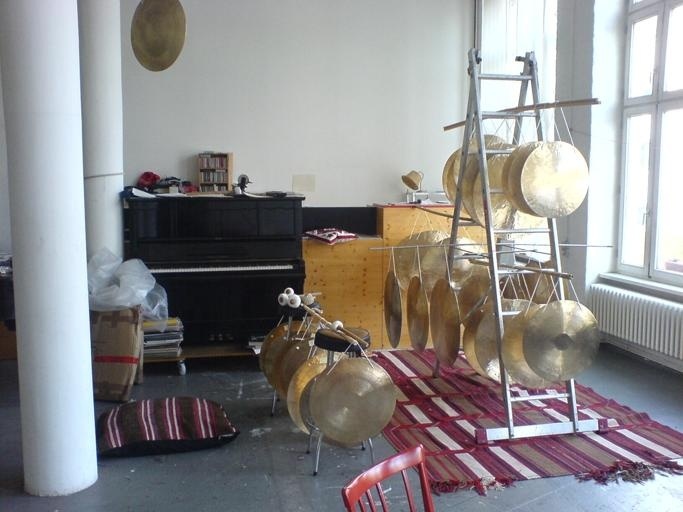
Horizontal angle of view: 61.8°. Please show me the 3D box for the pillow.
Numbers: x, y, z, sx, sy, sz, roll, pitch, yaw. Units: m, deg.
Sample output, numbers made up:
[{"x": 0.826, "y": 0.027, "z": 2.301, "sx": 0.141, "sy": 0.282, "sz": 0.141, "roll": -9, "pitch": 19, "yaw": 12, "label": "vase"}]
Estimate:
[{"x": -1.598, "y": 1.000, "z": 4.917, "sx": 1.028, "sy": 0.753, "sz": 1.665, "roll": -6, "pitch": 13, "yaw": -24, "label": "pillow"}]

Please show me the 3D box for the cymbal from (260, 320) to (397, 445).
[{"x": -0.087, "y": 0.946, "z": 4.288, "sx": 0.635, "sy": 0.935, "sz": 1.032, "roll": -4, "pitch": 13, "yaw": -19, "label": "cymbal"}]

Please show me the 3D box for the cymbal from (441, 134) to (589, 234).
[{"x": 1.412, "y": -0.600, "z": 4.769, "sx": 0.669, "sy": 0.795, "sz": 1.090, "roll": -6, "pitch": 13, "yaw": -25, "label": "cymbal"}]
